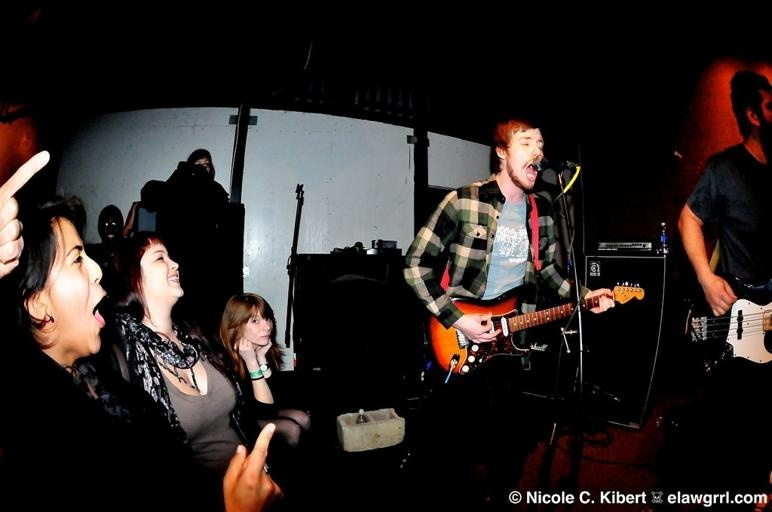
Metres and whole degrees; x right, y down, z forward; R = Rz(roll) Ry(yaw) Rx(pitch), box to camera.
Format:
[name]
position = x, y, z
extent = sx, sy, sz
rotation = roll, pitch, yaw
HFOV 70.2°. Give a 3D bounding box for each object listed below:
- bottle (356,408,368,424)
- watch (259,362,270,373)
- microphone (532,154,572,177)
[bottle]
position = -0.172, 1.195, 4.092
extent = 0.094, 0.081, 0.137
rotation = 3, 5, 19
[watch]
position = -0.850, 0.788, 3.880
extent = 0.088, 0.086, 0.020
rotation = 2, 1, -35
[microphone]
position = 1.150, -0.613, 3.745
extent = 0.102, 0.111, 0.297
rotation = 23, 0, -21
